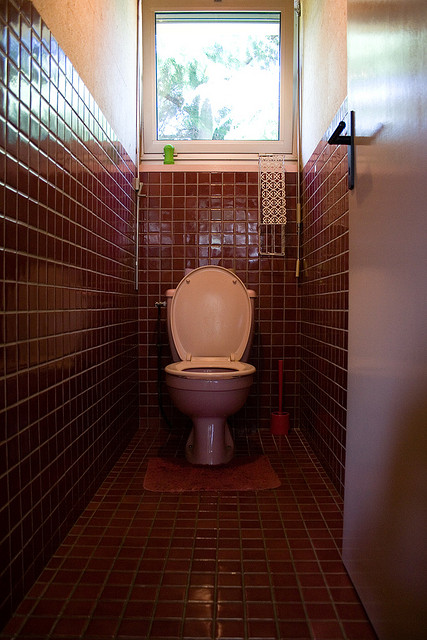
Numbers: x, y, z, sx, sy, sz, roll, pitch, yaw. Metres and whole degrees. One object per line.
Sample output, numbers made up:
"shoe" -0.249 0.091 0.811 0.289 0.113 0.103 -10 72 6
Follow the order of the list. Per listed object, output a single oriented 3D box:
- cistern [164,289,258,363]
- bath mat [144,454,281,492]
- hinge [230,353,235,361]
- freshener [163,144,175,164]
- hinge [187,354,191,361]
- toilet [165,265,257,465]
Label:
"cistern" -0.024 0.056 2.171 0.293 0.468 0.382 1 6 -7
"bath mat" -0.011 0.595 1.762 0.499 0.020 0.365 1 -1 -4
"hinge" 0.086 0.170 2.117 0.015 0.046 0.019 0 -4 -1
"freshener" -0.252 -0.928 2.546 0.060 0.137 0.077 0 7 0
"hinge" -0.114 0.177 2.103 0.017 0.027 0.039 1 -1 -9
"toilet" -0.019 0.166 2.024 0.427 0.860 0.664 0 -1 2
